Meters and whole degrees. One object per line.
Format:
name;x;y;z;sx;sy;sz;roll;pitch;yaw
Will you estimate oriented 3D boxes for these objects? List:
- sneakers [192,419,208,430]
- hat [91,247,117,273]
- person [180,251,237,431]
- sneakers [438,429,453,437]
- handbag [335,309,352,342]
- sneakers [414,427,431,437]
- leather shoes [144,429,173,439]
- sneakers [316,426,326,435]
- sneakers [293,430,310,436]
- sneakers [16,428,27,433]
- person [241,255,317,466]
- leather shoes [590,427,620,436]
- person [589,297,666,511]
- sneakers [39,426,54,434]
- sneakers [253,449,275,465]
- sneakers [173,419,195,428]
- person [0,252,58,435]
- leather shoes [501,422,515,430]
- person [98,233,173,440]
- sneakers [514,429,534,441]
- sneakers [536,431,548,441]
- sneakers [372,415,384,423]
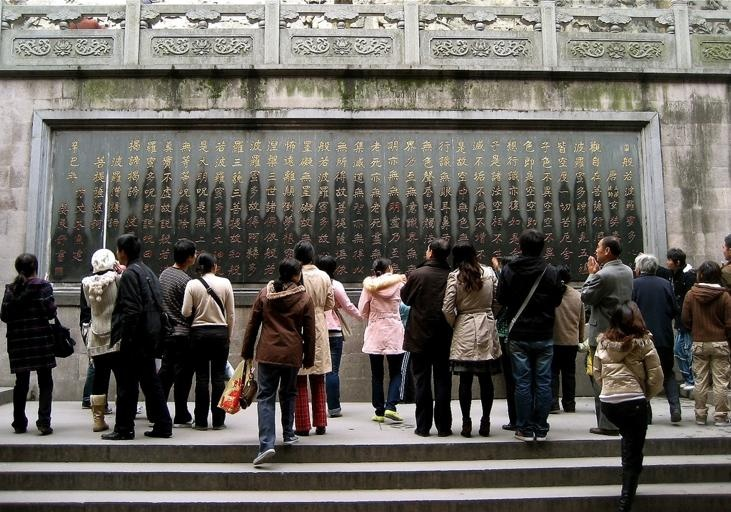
sneakers;-1.858;1.926;10.143;0.071;0.079;0.178;2;1;-34
hat;-2.942;0.052;10.113;0.204;0.247;0.269;2;16;-8
person;-1.781;0.980;10.174;0.565;1.995;0.285;0;-1;-11
sneakers;0.877;1.957;9.872;0.168;0.111;0.056;-4;3;-36
handbag;-0.269;0.852;10.888;0.244;0.338;0.284;-5;-9;1
sneakers;0.636;1.950;9.845;0.149;0.112;0.075;-4;-5;31
leather shoes;-2.277;1.955;9.875;0.290;0.130;0.118;4;-6;11
sneakers;-0.488;1.949;9.981;0.108;0.092;0.118;-1;0;-6
sneakers;-0.697;1.972;9.890;0.147;0.065;0.051;10;-11;-3
sneakers;-3.823;1.954;9.966;0.119;0.053;0.087;-1;0;-22
person;-0.913;1.123;9.505;0.768;2.167;0.452;-1;-1;-8
leather shoes;2.627;1.920;9.807;0.288;0.129;0.100;5;-3;32
person;2.633;1.520;8.970;0.652;2.119;0.232;-1;-1;13
sneakers;-3.520;1.927;9.936;0.115;0.101;0.092;2;-5;-28
sneakers;-1.049;2.108;9.380;0.234;0.205;0.276;-1;0;-7
sneakers;-2.077;1.937;10.307;0.245;0.103;0.091;2;-9;-14
person;-3.781;0.981;10.080;0.617;2.015;0.399;-1;-1;0
leather shoes;1.605;1.922;10.029;0.057;0.068;0.155;3;-2;-17
person;-2.501;0.884;9.874;0.712;2.250;0.381;0;-1;-13
sneakers;1.707;1.941;9.639;0.084;0.088;0.199;2;1;-17
sneakers;1.917;1.925;9.605;0.083;0.110;0.203;-1;0;39
sneakers;0.163;1.917;10.488;0.143;0.074;0.129;-1;0;0
